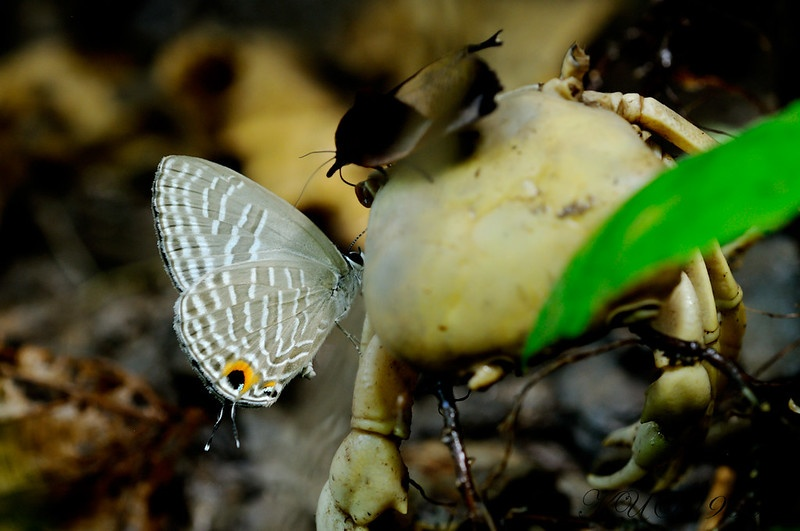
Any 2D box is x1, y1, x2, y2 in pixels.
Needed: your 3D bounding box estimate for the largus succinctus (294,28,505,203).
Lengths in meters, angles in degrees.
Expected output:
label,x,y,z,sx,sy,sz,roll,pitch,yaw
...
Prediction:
label,x,y,z,sx,sy,sz,roll,pitch,yaw
largus succinctus,0.026,-0.238,1.611,0.300,0.352,0.126,-5,46,-21
